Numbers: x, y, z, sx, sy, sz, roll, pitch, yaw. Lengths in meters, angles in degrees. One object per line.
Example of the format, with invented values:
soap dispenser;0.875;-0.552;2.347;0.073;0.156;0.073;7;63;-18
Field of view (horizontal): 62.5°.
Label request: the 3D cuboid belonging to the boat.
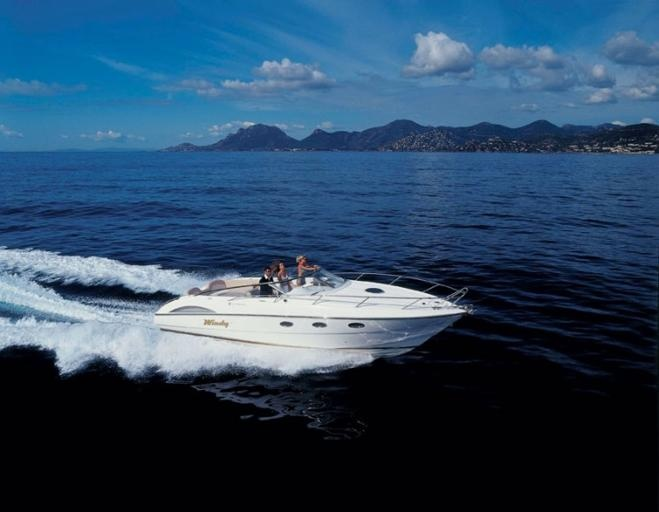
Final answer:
boat;0.076;1.802;16.465;11.218;2.113;2.779;2;19;8
